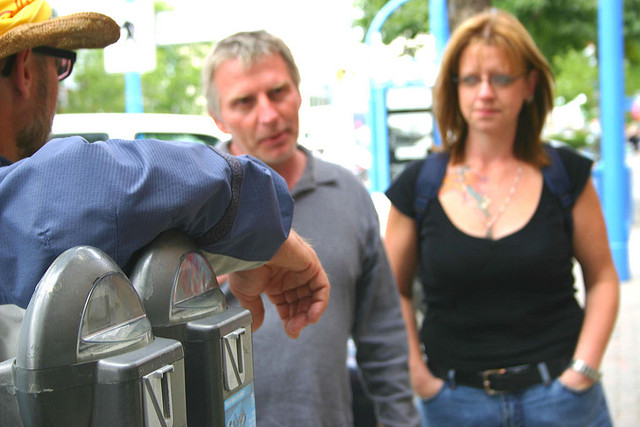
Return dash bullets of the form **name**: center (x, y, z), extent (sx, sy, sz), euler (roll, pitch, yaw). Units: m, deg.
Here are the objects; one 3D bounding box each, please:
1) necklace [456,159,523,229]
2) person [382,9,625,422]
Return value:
- **necklace**: center (0.827, -0.081, 4.113), extent (0.363, 0.412, 0.036), euler (3, -29, 5)
- **person**: center (0.863, 0.007, 4.166), extent (1.088, 2.045, 0.495), euler (-4, 3, 18)
